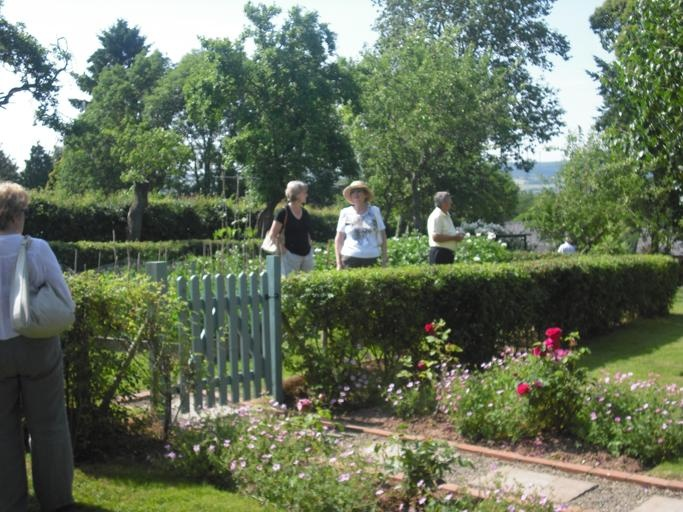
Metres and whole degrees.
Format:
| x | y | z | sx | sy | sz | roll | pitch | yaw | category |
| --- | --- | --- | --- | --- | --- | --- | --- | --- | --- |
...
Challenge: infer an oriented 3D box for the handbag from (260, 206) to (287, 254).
| x | y | z | sx | sy | sz | roll | pitch | yaw | category |
| --- | --- | --- | --- | --- | --- | --- | --- | --- | --- |
| -0.989 | -0.314 | 13.116 | 0.329 | 0.574 | 0.203 | 0 | -2 | 6 | handbag |

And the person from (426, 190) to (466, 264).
| x | y | z | sx | sy | sz | roll | pitch | yaw | category |
| --- | --- | --- | --- | --- | --- | --- | --- | --- | --- |
| 1.667 | -0.479 | 14.142 | 0.546 | 1.250 | 1.071 | 0 | -2 | 7 | person |

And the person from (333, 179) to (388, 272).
| x | y | z | sx | sy | sz | roll | pitch | yaw | category |
| --- | --- | --- | --- | --- | --- | --- | --- | --- | --- |
| 0.293 | -0.499 | 13.625 | 0.807 | 1.383 | 0.881 | -1 | -3 | 29 | person |
